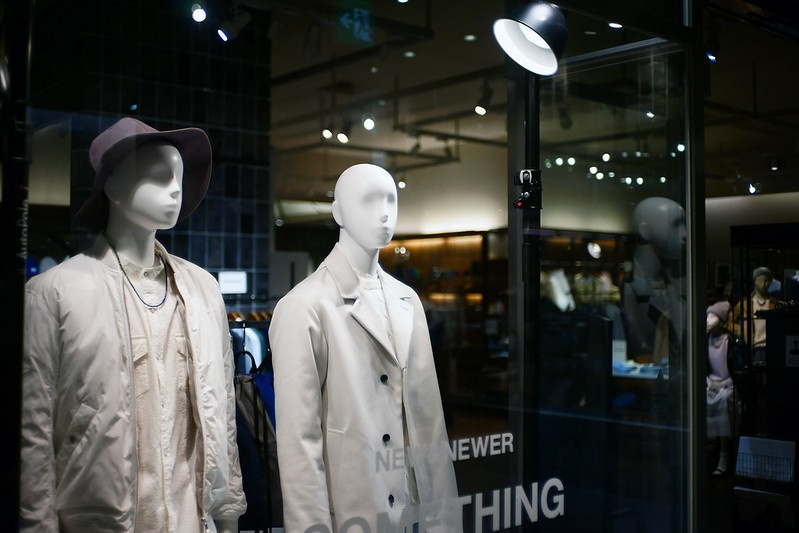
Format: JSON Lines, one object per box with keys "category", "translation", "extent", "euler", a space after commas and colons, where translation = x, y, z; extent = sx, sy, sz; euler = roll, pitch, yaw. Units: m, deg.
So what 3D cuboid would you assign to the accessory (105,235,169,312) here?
{"category": "accessory", "translation": [-0.993, 0.028, 3.446], "extent": [0.044, 0.292, 0.183], "euler": [-18, 3, 30]}
